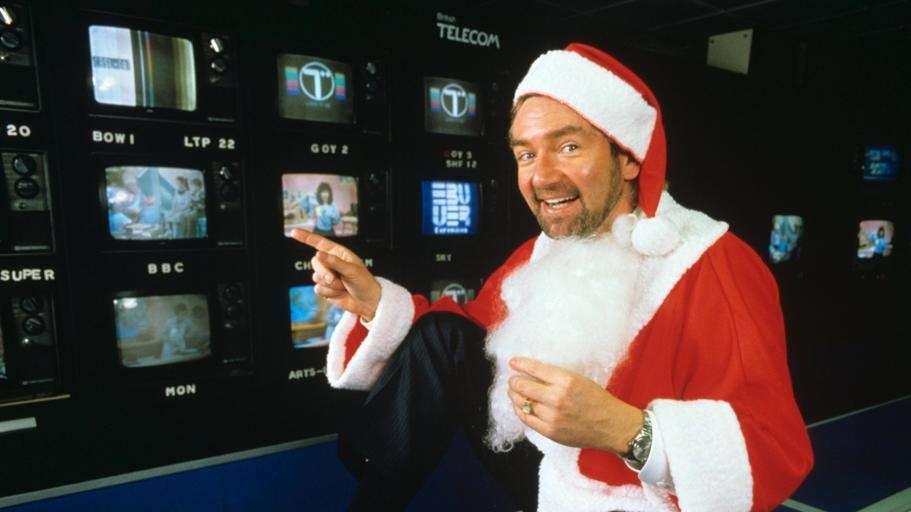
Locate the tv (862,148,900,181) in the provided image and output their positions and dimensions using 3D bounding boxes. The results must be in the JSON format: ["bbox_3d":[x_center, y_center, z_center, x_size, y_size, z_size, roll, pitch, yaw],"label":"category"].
[{"bbox_3d":[3.210,-0.690,5.141,0.288,0.242,0.065,8,2,-8],"label":"tv"}]
